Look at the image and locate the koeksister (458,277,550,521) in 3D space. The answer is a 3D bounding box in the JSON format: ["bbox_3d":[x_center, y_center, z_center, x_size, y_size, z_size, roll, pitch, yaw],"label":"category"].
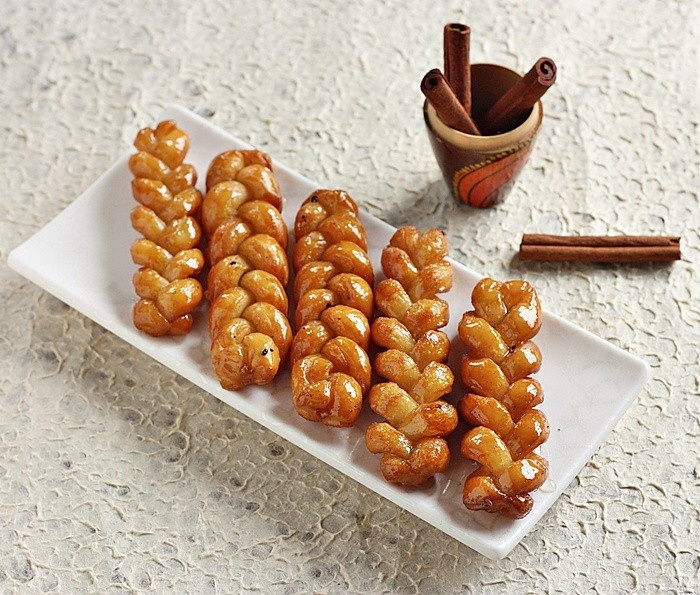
[{"bbox_3d":[0.236,0.133,1.283,0.131,0.077,0.374,-1,56,13],"label":"koeksister"}]

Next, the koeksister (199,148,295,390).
[{"bbox_3d":[-0.172,-0.074,1.381,0.137,0.099,0.388,-3,71,-1],"label":"koeksister"}]

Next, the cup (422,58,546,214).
[{"bbox_3d":[0.237,-0.262,1.511,0.208,0.210,0.203,-3,57,5],"label":"cup"}]
